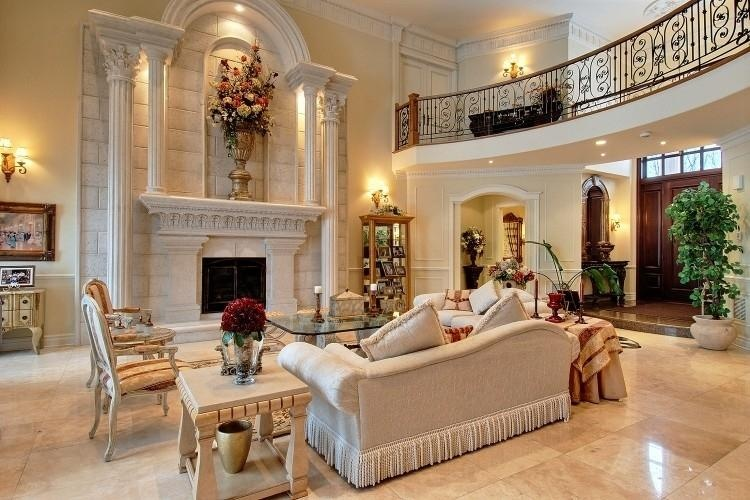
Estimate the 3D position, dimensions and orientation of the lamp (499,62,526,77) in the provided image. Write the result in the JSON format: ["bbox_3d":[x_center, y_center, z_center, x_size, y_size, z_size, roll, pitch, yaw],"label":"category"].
[{"bbox_3d":[3.259,-4.250,11.468,0.496,0.416,0.344,-4,-1,16],"label":"lamp"}]

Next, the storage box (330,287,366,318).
[{"bbox_3d":[-0.437,0.767,7.123,0.443,0.361,0.364,1,-3,-29],"label":"storage box"}]

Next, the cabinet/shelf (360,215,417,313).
[{"bbox_3d":[0.321,0.265,10.260,0.888,2.007,0.323,1,-11,-6],"label":"cabinet/shelf"}]

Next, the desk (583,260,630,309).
[{"bbox_3d":[5.995,0.800,12.319,0.881,1.259,1.495,-1,3,25],"label":"desk"}]

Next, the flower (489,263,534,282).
[{"bbox_3d":[2.098,0.361,7.447,0.403,0.288,0.413,2,1,38],"label":"flower"}]

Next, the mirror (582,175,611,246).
[{"bbox_3d":[5.413,-0.980,11.909,0.839,1.790,0.300,-3,0,-20],"label":"mirror"}]

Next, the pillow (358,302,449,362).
[{"bbox_3d":[0.297,0.833,5.004,0.895,0.586,0.174,-3,-1,-2],"label":"pillow"}]

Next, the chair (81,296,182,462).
[{"bbox_3d":[-2.718,1.358,5.615,0.942,1.591,1.075,5,3,45],"label":"chair"}]

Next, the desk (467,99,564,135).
[{"bbox_3d":[2.912,-2.744,10.298,1.782,0.709,0.424,-4,-2,25],"label":"desk"}]

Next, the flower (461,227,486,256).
[{"bbox_3d":[2.488,-0.219,12.343,0.664,0.707,0.599,-8,1,-4],"label":"flower"}]

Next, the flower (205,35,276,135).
[{"bbox_3d":[-2.407,-2.992,8.842,1.212,1.670,0.822,-3,-1,-19],"label":"flower"}]

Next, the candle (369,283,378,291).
[{"bbox_3d":[-0.030,0.572,7.246,0.114,0.134,0.117,3,6,34],"label":"candle"}]

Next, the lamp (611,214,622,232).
[{"bbox_3d":[6.030,-0.663,12.206,0.368,0.457,0.113,-2,-1,-27],"label":"lamp"}]

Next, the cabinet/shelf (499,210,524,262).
[{"bbox_3d":[3.559,-0.326,12.425,0.534,1.309,0.315,-3,0,-3],"label":"cabinet/shelf"}]

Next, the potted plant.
[{"bbox_3d":[5.519,0.275,7.978,1.101,2.978,0.674,-3,0,-12],"label":"potted plant"}]

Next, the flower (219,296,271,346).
[{"bbox_3d":[-1.366,0.706,4.881,0.428,0.507,0.443,1,-2,-45],"label":"flower"}]

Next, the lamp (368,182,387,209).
[{"bbox_3d":[0.169,-1.190,10.600,0.537,0.583,0.256,-2,-1,-37],"label":"lamp"}]
